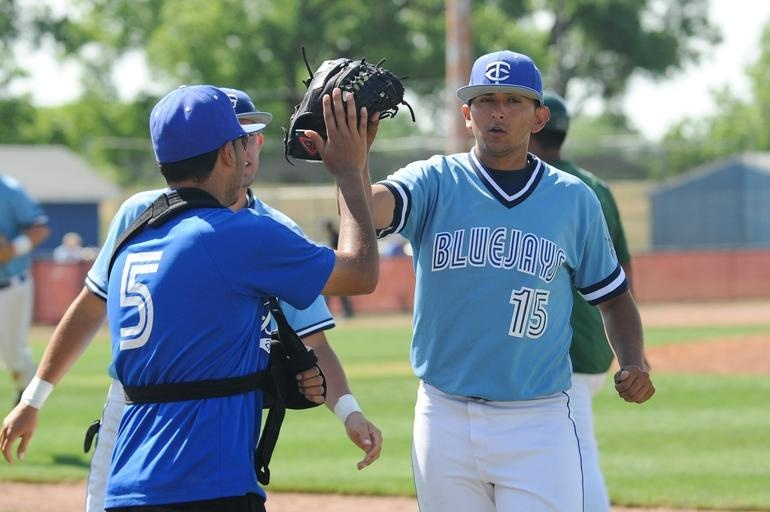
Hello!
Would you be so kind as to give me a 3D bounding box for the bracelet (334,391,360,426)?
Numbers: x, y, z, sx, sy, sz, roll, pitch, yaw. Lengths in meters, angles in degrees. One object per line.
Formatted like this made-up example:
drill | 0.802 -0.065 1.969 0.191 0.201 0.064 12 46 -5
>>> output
bracelet | -0.438 1.769 16.325 0.313 0.241 0.317 -41 -1 9
